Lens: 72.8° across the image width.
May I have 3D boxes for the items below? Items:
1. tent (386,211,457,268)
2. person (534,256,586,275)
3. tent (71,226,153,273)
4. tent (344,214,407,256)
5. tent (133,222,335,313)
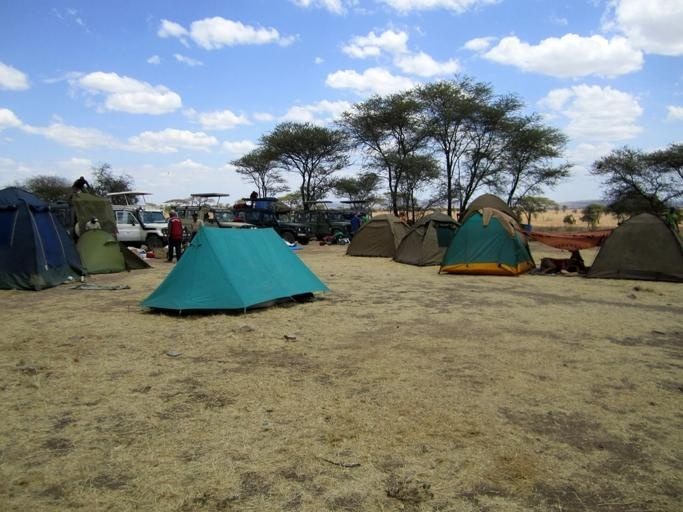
[{"bbox_3d":[2.696,-0.554,16.207,2.187,1.050,2.034,-3,8,31],"label":"tent"},{"bbox_3d":[6.702,0.237,13.972,1.347,0.423,1.032,4,13,14],"label":"person"},{"bbox_3d":[-6.588,-0.154,12.925,1.441,0.574,1.260,7,14,34],"label":"tent"},{"bbox_3d":[1.472,-0.845,18.907,2.167,0.869,1.820,-8,7,-41],"label":"tent"},{"bbox_3d":[-1.753,0.273,8.599,1.795,0.921,2.411,-3,-3,31],"label":"tent"}]
